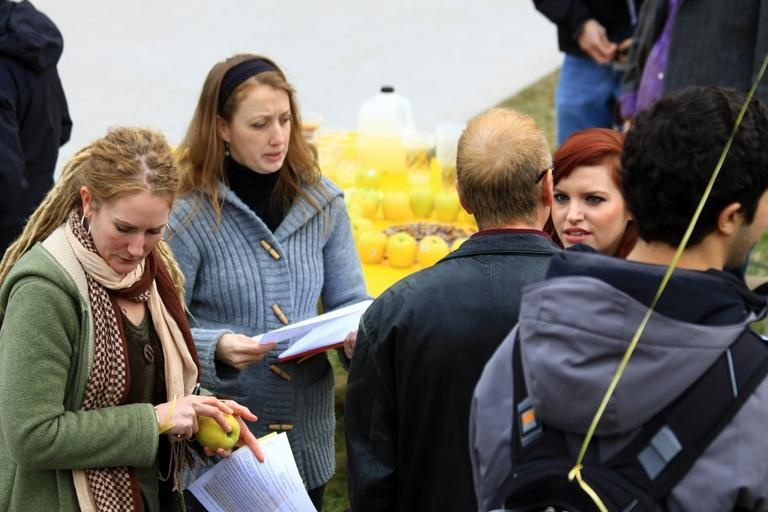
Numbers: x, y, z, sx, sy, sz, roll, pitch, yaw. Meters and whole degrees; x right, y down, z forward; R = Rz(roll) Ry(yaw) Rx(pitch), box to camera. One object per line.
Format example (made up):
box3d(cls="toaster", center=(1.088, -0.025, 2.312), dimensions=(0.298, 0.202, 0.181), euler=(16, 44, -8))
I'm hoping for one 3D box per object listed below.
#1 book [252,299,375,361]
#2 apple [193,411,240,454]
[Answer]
box3d(cls="book", center=(-0.248, 0.292, 3.479), dimensions=(0.278, 0.121, 0.311), euler=(-28, -5, 39))
box3d(cls="apple", center=(-0.567, 0.614, 3.215), dimensions=(0.162, 0.128, 0.134), euler=(11, 22, 5))
